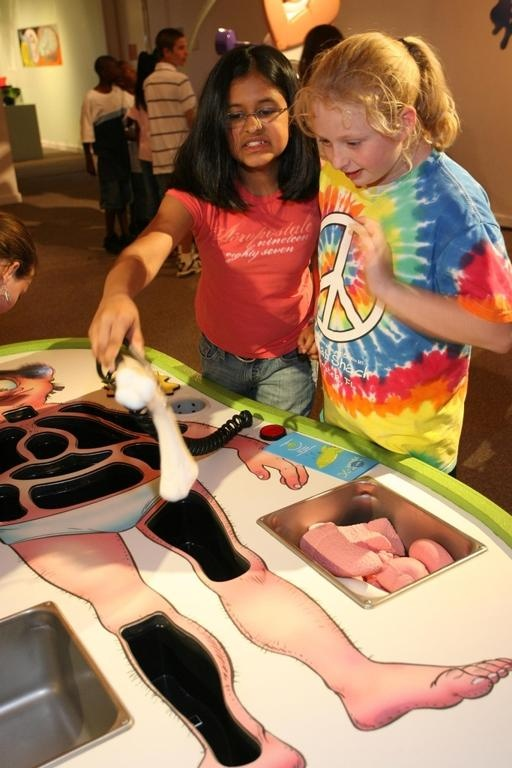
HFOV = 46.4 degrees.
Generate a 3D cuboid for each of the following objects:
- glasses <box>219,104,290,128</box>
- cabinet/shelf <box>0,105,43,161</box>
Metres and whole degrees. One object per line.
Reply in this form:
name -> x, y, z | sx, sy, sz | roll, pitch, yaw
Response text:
glasses -> 0.001, -0.604, 1.350 | 0.139, 0.036, 0.040 | -4, 21, -2
cabinet/shelf -> -4.287, -4.639, 11.045 | 0.537, 0.988, 0.378 | -12, 23, -18
